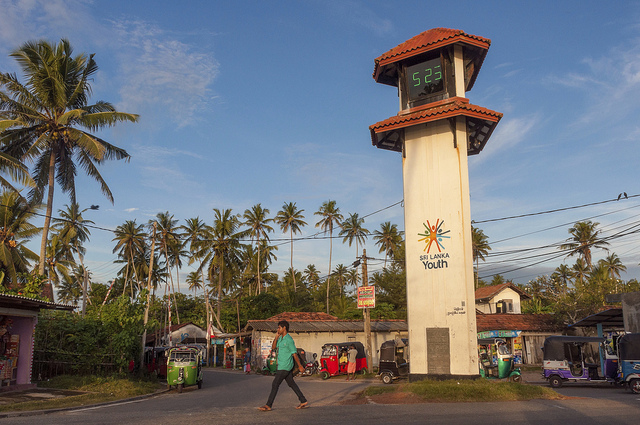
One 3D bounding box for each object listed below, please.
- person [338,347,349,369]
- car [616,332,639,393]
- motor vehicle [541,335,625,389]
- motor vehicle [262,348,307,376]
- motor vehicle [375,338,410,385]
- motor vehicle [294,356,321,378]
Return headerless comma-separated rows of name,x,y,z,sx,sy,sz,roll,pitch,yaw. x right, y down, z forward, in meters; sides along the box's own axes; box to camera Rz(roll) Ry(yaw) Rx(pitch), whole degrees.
person,1.781,11.579,38.274,0.736,1.244,0.526,16,-19,-18
car,16.808,8.116,26.049,1.161,3.038,1.067,-12,-22,27
motor vehicle,15.694,8.981,29.598,4.805,2.977,2.473,-2,-13,9
motor vehicle,-3.261,12.930,41.818,4.225,2.485,2.161,-13,-9,-2
motor vehicle,5.032,9.878,31.982,2.568,2.765,1.946,-9,-13,31
motor vehicle,-0.996,12.870,40.193,2.613,1.715,1.465,14,-25,-39
